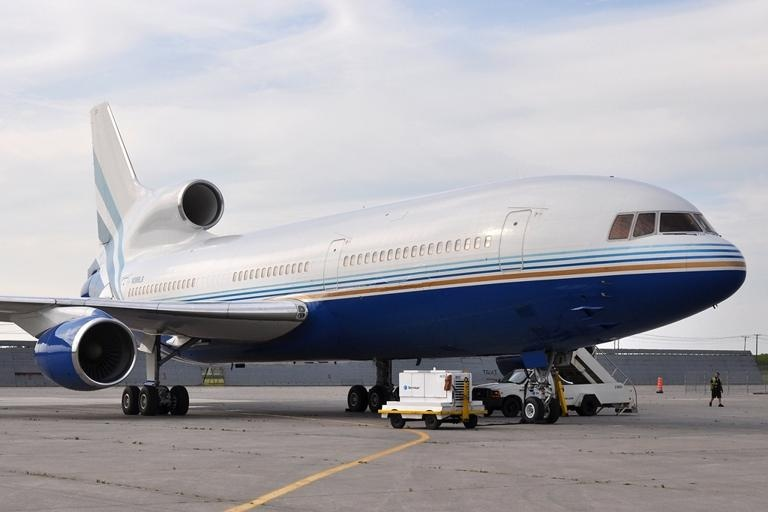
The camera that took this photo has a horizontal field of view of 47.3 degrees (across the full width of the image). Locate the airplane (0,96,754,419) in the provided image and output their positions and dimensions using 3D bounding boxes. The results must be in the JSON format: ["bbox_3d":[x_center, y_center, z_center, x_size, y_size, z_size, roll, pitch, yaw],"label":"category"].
[{"bbox_3d":[-0.278,0.414,23.529,13.713,4.627,15.452,3,-5,-43],"label":"airplane"}]

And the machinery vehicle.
[{"bbox_3d":[5.001,3.632,24.878,4.329,1.510,2.615,4,-8,-21],"label":"machinery vehicle"}]
